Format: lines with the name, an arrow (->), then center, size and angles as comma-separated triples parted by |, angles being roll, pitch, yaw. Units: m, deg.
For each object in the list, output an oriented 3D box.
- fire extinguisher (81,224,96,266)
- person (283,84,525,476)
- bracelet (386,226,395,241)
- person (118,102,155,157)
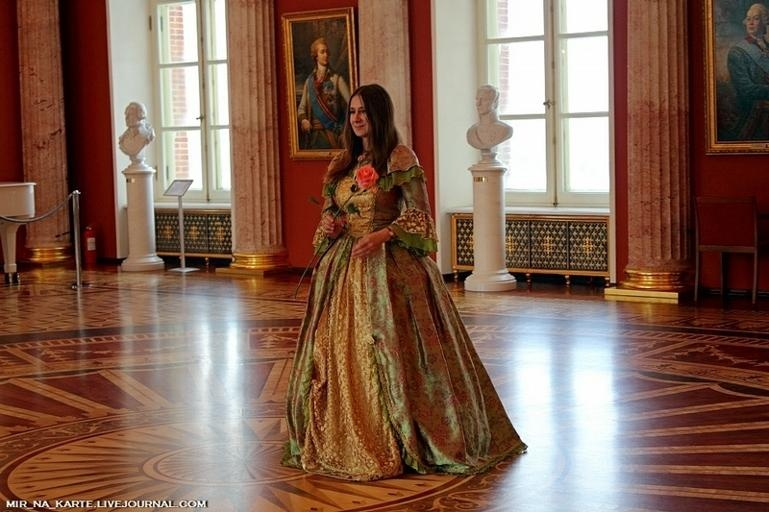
fire extinguisher -> -5.569, -0.225, 11.739 | 0.244, 0.702, 0.476 | -2, 4, -26
person -> 0.049, 0.103, 3.200 | 1.146, 1.926, 0.491 | -1, 3, -6
bracelet -> 0.034, -0.109, 3.095 | 0.025, 0.050, 0.059 | -23, 26, 4
person -> -4.354, -2.166, 10.893 | 0.540, 1.073, 0.553 | -2, 4, -25
